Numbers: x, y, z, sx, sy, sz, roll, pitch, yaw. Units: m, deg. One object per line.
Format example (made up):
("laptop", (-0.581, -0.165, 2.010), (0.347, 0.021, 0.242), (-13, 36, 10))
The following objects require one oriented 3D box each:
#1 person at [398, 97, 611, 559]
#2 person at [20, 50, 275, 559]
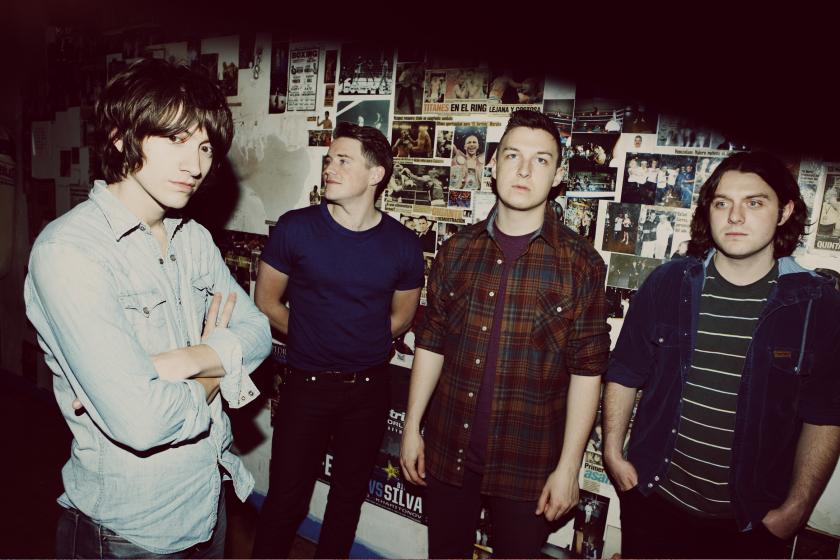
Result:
("person", (0.474, 0.342, 3.295), (0.991, 2.516, 0.504), (9, 8, 31))
("person", (-1.207, 0.190, 2.748), (0.993, 2.381, 0.542), (0, 8, -33))
